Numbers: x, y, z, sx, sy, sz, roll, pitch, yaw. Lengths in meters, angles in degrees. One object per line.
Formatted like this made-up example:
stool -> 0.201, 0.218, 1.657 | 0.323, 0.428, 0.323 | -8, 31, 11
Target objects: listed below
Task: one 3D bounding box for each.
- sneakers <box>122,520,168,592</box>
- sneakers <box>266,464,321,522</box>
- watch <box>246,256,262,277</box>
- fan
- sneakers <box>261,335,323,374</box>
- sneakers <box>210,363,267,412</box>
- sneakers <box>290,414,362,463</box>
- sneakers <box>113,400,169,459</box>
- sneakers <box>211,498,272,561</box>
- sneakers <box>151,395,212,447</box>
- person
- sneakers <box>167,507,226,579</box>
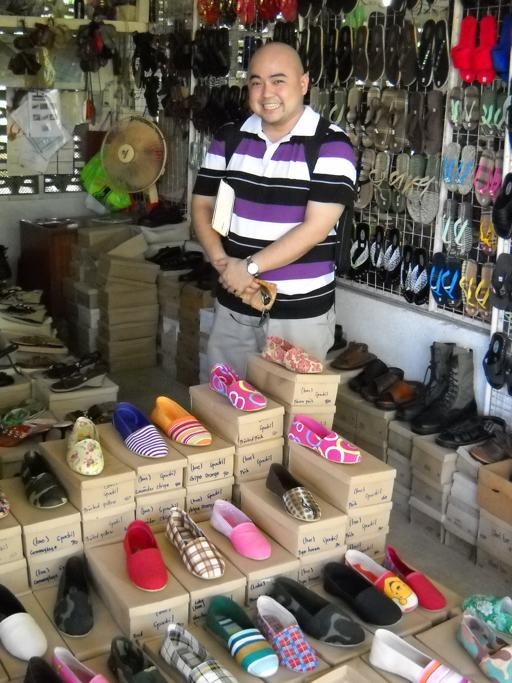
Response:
sneakers -> -0.282, 0.533, 1.303 | 0.088, 0.062, 0.229 | -4, 19, -26
sneakers -> 0.105, 0.434, 1.498 | 0.087, 0.081, 0.246 | -5, 15, -24
watch -> -0.012, -0.276, 1.906 | 0.038, 0.066, 0.067 | -28, 28, -7
fan -> -1.126, -1.712, 4.816 | 0.628, 0.647, 0.147 | 2, 16, 16
sneakers -> 0.122, 0.052, 1.819 | 0.220, 0.083, 0.094 | 22, 28, 40
sneakers -> -0.064, 0.154, 1.771 | 0.094, 0.078, 0.236 | -16, 29, -34
sneakers -> 0.206, 0.304, 1.631 | 0.095, 0.092, 0.253 | -21, 27, -37
sneakers -> -0.376, 0.285, 1.660 | 0.100, 0.072, 0.281 | -6, 24, -38
sneakers -> -0.045, 0.514, 1.469 | 0.082, 0.068, 0.204 | -10, 19, -33
sneakers -> -0.260, 0.266, 1.746 | 0.115, 0.095, 0.286 | -9, 22, -40
person -> 0.067, -0.457, 2.103 | 0.646, 1.373, 0.564 | 0, 17, -6
sneakers -> -0.163, 0.536, 1.379 | 0.097, 0.077, 0.256 | 6, 9, -34
